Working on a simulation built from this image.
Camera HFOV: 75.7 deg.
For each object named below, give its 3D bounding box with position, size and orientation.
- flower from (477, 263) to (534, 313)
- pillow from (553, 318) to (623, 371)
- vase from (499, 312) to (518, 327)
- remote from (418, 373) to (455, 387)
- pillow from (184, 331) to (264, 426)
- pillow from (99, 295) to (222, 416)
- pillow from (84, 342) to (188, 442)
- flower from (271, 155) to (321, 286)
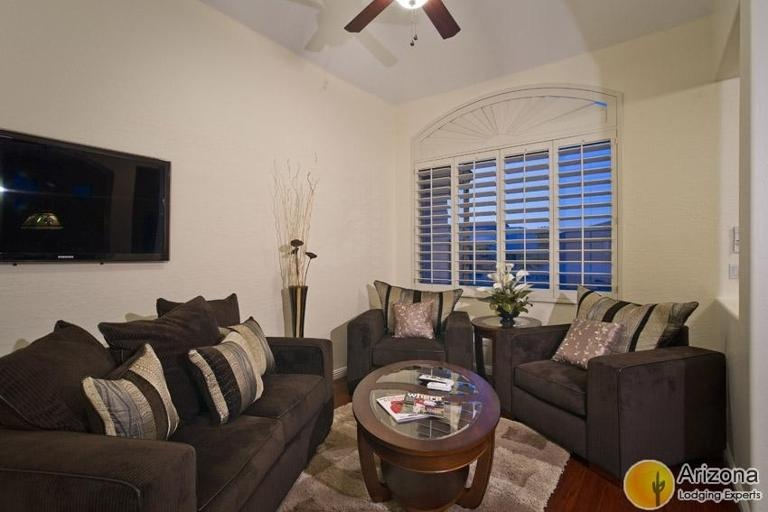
[{"bbox_3d":[1.195,0.347,4.855,0.533,0.523,0.534,0,-3,17],"label":"flower"},{"bbox_3d":[1.659,0.697,4.034,0.121,0.379,0.408,33,-11,-21],"label":"pillow"},{"bbox_3d":[1.152,0.599,4.629,0.138,0.127,0.135,0,-10,5],"label":"vase"},{"bbox_3d":[0.395,0.931,3.732,0.162,0.039,0.100,11,-4,-1],"label":"remote"},{"bbox_3d":[-1.073,0.846,3.571,0.316,0.540,0.641,3,12,4],"label":"pillow"},{"bbox_3d":[-1.465,0.684,3.273,0.371,0.677,0.741,-2,3,21],"label":"pillow"},{"bbox_3d":[-1.525,0.836,3.001,0.268,0.502,0.549,-14,4,-1],"label":"pillow"},{"bbox_3d":[-0.888,-0.323,4.961,0.111,1.245,0.519,3,3,36],"label":"flower"}]
